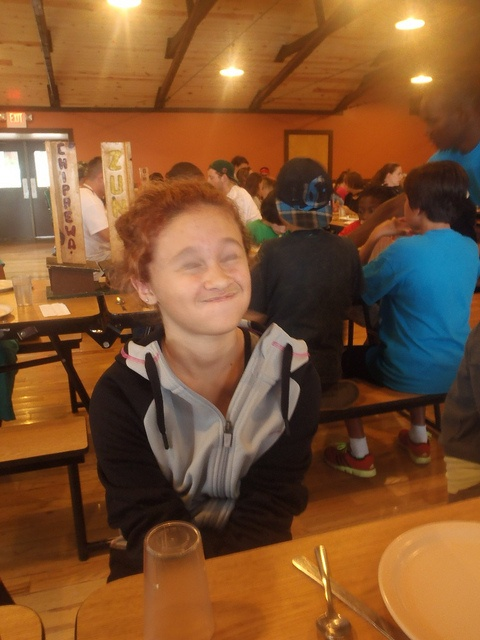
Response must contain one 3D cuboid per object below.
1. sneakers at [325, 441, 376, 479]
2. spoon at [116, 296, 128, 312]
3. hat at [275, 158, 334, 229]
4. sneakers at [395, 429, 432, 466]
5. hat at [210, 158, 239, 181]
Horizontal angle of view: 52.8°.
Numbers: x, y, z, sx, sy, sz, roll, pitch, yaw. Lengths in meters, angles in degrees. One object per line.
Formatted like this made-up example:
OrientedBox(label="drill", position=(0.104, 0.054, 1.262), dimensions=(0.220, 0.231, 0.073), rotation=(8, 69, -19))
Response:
OrientedBox(label="sneakers", position=(0.508, 0.664, 2.326), dimensions=(0.104, 0.117, 0.250), rotation=(-31, 40, -33))
OrientedBox(label="spoon", position=(-0.565, -0.076, 2.305), dimensions=(0.076, 0.035, 0.173), rotation=(-4, 16, -10))
OrientedBox(label="hat", position=(0.272, -0.505, 1.888), dimensions=(0.213, 0.307, 0.188), rotation=(-11, 0, -20))
OrientedBox(label="sneakers", position=(0.855, 0.630, 2.419), dimensions=(0.082, 0.089, 0.205), rotation=(-4, 26, -12))
OrientedBox(label="hat", position=(-0.147, -1.473, 4.715), dimensions=(0.174, 0.106, 0.247), rotation=(30, 8, 26))
